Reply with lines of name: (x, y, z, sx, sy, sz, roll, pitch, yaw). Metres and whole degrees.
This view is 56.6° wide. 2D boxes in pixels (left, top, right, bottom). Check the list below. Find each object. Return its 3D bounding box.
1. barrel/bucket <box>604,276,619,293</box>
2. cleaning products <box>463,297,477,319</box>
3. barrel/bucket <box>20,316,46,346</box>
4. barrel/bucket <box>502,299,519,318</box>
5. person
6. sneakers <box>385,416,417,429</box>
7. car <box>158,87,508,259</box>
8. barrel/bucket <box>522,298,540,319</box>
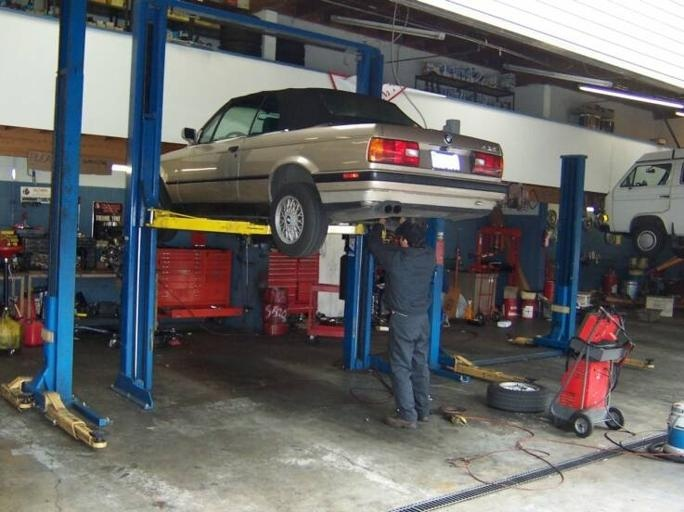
barrel/bucket: (6.892, 0.731, 16.311, 0.286, 0.437, 0.420, 4, 6, 14)
cleaning products: (2.559, 1.081, 12.820, 0.247, 0.378, 0.487, 3, 6, 11)
barrel/bucket: (-4.342, 1.073, 8.885, 0.263, 0.354, 0.300, -2, 7, -29)
barrel/bucket: (3.498, 1.093, 13.283, 0.159, 0.457, 0.433, 0, 0, 45)
person: (0.568, 0.675, 6.269, 0.640, 1.966, 0.452, 3, 7, 6)
sneakers: (0.566, 1.622, 6.209, 0.302, 0.140, 0.112, 9, 2, 6)
car: (-0.378, -0.881, 7.031, 1.838, 1.283, 3.572, -2, 10, -43)
barrel/bucket: (4.020, 1.128, 13.826, 0.412, 0.471, 0.411, 1, 2, 0)
